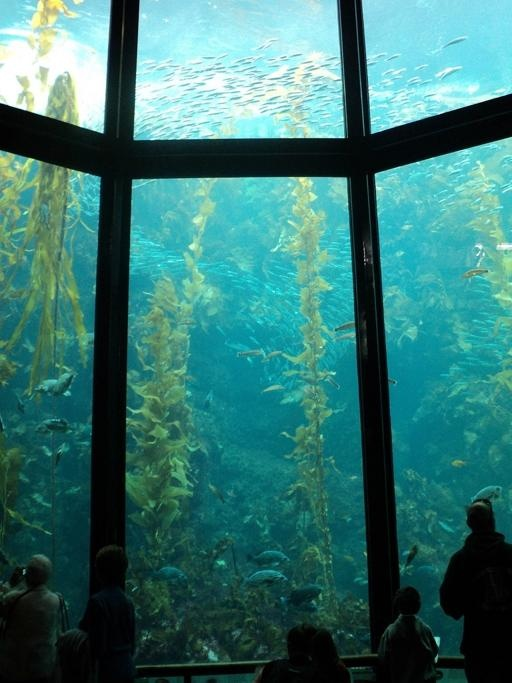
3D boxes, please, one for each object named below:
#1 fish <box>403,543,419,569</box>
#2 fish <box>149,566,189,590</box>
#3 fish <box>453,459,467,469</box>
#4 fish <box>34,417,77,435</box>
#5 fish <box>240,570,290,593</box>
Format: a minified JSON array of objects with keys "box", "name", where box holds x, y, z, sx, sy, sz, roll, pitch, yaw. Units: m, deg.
[{"box":[0.722,1.000,2.991,0.051,0.142,0.046,-1,-39,45],"name":"fish"},{"box":[-0.405,1.115,3.035,0.103,0.064,0.104,17,2,-37],"name":"fish"},{"box":[0.937,0.561,2.961,0.035,0.015,0.046,-33,-16,28],"name":"fish"},{"box":[-0.925,0.389,2.959,0.046,0.094,0.172,-26,-21,33],"name":"fish"},{"box":[0.048,1.137,3.036,0.247,0.125,0.081,-1,-15,5],"name":"fish"}]
